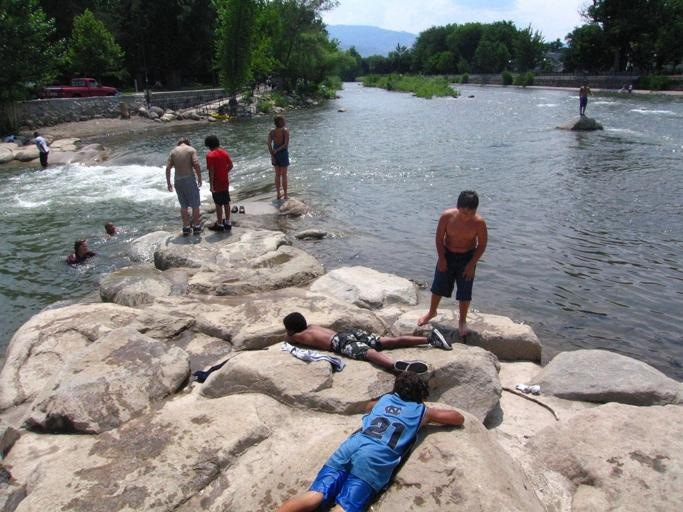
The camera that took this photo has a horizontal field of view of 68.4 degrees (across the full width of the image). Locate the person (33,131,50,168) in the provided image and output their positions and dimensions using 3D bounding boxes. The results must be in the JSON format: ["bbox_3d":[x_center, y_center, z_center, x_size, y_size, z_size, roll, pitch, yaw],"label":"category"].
[{"bbox_3d":[-13.575,-4.997,22.743,0.466,1.400,3.129,-15,25,-27],"label":"person"}]

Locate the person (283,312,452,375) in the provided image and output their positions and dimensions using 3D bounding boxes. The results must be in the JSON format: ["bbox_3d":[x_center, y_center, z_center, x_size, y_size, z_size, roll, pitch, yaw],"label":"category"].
[{"bbox_3d":[0.232,1.286,7.517,2.024,0.412,0.982,3,7,15],"label":"person"}]

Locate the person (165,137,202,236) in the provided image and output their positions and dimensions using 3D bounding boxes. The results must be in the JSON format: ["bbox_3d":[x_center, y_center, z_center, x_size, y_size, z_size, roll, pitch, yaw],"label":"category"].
[{"bbox_3d":[-3.771,-1.723,12.146,0.768,2.292,0.654,-10,24,-17],"label":"person"}]

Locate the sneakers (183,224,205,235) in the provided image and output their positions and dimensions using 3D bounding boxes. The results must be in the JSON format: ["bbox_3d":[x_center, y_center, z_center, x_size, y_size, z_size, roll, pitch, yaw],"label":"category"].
[{"bbox_3d":[-3.629,-0.681,12.424,0.552,0.197,0.197,-7,12,-37],"label":"sneakers"}]

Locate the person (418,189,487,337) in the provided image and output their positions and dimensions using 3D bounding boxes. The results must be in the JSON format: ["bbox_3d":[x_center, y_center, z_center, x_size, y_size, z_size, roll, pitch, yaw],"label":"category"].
[{"bbox_3d":[1.785,0.120,7.973,0.903,2.434,0.483,4,24,14],"label":"person"}]

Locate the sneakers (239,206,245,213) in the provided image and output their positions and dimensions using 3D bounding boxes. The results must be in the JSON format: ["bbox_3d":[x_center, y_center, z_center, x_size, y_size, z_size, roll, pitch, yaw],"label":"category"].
[{"bbox_3d":[-2.867,-1.372,14.413,0.110,0.123,0.309,-2,18,-7],"label":"sneakers"}]

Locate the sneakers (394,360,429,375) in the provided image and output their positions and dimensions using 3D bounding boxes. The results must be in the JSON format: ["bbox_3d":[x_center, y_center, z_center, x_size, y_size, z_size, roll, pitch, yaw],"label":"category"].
[{"bbox_3d":[0.959,1.534,6.910,0.518,0.171,0.187,2,5,10],"label":"sneakers"}]

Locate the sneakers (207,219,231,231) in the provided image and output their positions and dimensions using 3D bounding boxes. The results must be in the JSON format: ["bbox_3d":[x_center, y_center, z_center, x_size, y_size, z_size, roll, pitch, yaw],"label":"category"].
[{"bbox_3d":[-3.129,-0.806,12.646,0.484,0.151,0.310,12,16,41],"label":"sneakers"}]

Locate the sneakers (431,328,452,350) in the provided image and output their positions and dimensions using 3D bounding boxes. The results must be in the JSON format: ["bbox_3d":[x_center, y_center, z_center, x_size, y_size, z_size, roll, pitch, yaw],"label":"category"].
[{"bbox_3d":[1.453,1.270,7.642,0.186,0.142,0.435,-3,39,-42],"label":"sneakers"}]
